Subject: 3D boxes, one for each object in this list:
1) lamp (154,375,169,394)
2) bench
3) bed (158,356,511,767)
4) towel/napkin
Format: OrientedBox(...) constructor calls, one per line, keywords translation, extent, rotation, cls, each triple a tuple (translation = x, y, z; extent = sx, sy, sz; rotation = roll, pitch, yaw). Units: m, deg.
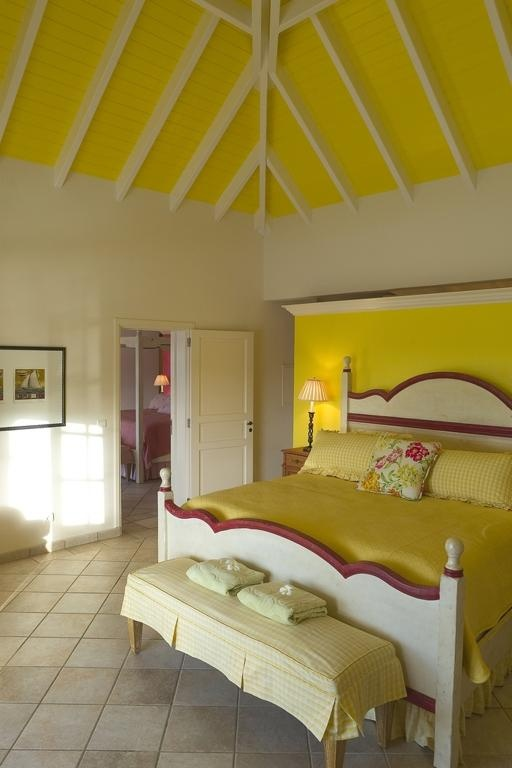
OrientedBox(translation=(-1.801, -0.003, 10.330), extent=(0.209, 0.341, 0.229), rotation=(-7, 25, -17), cls="lamp")
OrientedBox(translation=(-0.031, 1.230, 2.465), extent=(1.325, 0.385, 0.446), rotation=(0, 0, 43), cls="bench")
OrientedBox(translation=(0.930, 0.926, 3.381), extent=(1.879, 1.530, 2.038), rotation=(5, 6, 42), cls="bed")
OrientedBox(translation=(-0.015, 1.001, 2.599), extent=(0.262, 0.083, 0.494), rotation=(0, 4, -40), cls="towel/napkin")
